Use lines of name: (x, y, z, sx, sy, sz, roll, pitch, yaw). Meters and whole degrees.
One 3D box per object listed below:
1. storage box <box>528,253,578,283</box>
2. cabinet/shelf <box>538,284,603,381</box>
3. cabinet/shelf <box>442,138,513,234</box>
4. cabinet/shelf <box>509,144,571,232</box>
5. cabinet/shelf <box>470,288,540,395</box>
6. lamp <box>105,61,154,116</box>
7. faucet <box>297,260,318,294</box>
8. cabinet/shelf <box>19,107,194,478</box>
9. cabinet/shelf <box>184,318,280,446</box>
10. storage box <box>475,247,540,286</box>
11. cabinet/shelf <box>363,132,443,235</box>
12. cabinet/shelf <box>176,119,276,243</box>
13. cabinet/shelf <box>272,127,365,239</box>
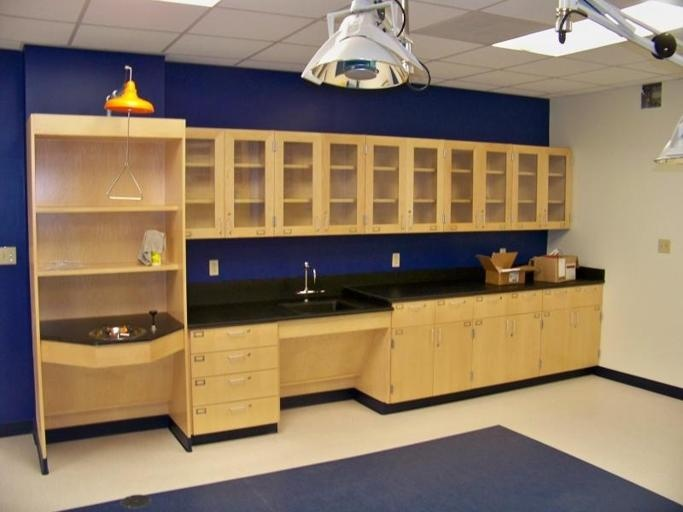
storage box: (2.228, 0.125, 5.851, 0.287, 0.227, 0.384, -2, 4, -12)
cabinet/shelf: (2.293, 0.755, 5.701, 0.923, 0.938, 0.602, -2, 3, -28)
cabinet/shelf: (1.446, -0.673, 5.554, 0.348, 0.877, 0.885, -8, 11, -34)
cabinet/shelf: (2.020, -0.698, 5.930, 0.830, 0.829, 0.322, -2, 4, -25)
cabinet/shelf: (1.501, 0.756, 5.586, 0.918, 0.902, 0.504, -4, 7, -24)
lamp: (-1.404, -1.113, 3.747, 0.377, 0.301, 0.380, -2, 10, -26)
faucet: (-0.299, 0.205, 5.171, 0.112, 0.308, 0.196, 9, 14, 36)
cabinet/shelf: (-1.706, 0.286, 4.206, 1.153, 2.525, 0.835, -2, 6, -34)
cabinet/shelf: (-0.897, 1.021, 4.642, 0.725, 0.980, 0.528, -3, 5, -22)
storage box: (1.689, 0.111, 5.725, 0.449, 0.321, 0.413, 0, 9, -12)
cabinet/shelf: (0.555, -0.663, 5.181, 0.899, 0.898, 0.324, -1, 2, -22)
cabinet/shelf: (-0.924, -0.582, 4.715, 0.898, 0.888, 0.351, 2, 6, 9)
cabinet/shelf: (-0.124, -0.607, 4.893, 0.866, 0.854, 0.332, 2, 5, 19)
